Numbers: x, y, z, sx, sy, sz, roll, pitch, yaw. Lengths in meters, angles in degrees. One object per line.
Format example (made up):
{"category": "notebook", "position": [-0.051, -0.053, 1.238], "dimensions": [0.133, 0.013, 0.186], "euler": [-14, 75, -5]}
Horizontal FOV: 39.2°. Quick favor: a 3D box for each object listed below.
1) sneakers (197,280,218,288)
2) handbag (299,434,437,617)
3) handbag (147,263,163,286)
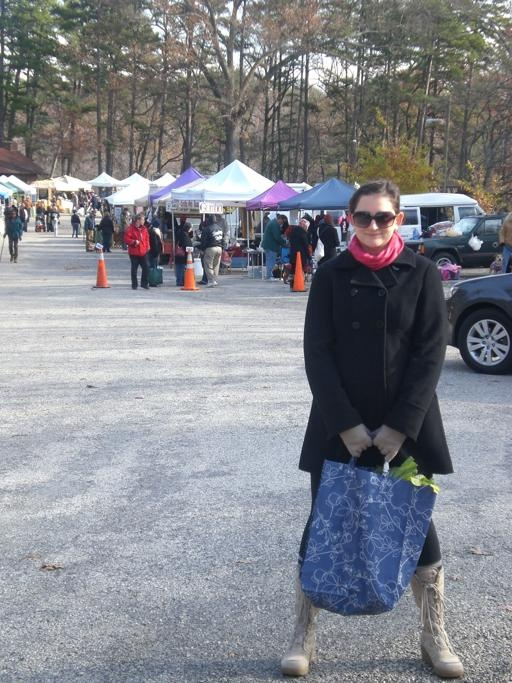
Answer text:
{"category": "sneakers", "position": [-1.401, -1.645, 20.734], "dimensions": [0.577, 0.231, 0.213], "euler": [6, 8, 34]}
{"category": "handbag", "position": [0.345, 0.599, 2.198], "dimensions": [0.379, 0.443, 0.153], "euler": [2, 7, 16]}
{"category": "handbag", "position": [-2.834, -1.865, 20.458], "dimensions": [0.486, 0.776, 0.640], "euler": [-3, 16, -11]}
